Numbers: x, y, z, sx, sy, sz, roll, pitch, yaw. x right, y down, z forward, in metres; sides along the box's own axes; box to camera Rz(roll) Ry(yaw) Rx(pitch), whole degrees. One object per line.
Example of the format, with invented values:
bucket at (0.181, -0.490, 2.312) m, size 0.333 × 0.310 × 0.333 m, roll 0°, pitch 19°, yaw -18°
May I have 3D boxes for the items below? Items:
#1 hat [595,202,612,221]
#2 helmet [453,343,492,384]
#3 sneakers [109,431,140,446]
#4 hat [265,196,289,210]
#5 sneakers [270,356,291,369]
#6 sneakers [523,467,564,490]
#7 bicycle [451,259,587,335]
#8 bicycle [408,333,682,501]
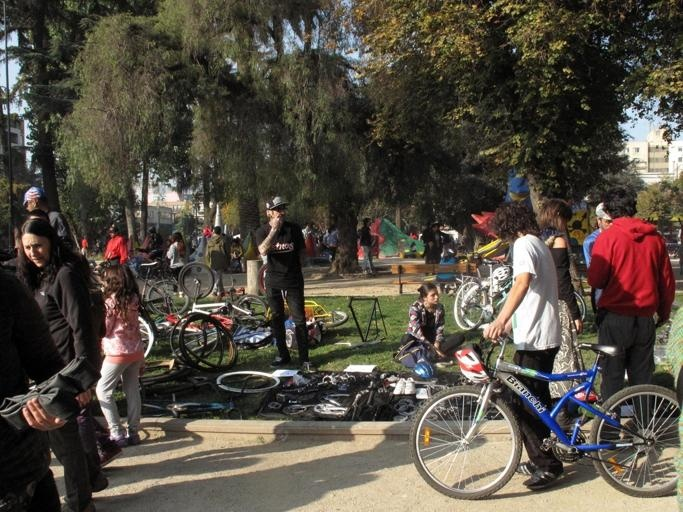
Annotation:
hat at (2.700, -0.466, 6.861) m, size 0.109 × 0.125 × 0.152 m, roll -3°, pitch 31°, yaw 8°
helmet at (1.216, 0.942, 6.028) m, size 0.242 × 0.361 × 0.129 m, roll -17°, pitch -11°, yaw 27°
sneakers at (-2.280, 1.920, 7.039) m, size 0.268 × 0.137 × 0.148 m, roll 2°, pitch -7°, yaw 5°
hat at (-0.927, -0.792, 9.418) m, size 0.223 × 0.201 × 0.320 m, roll -5°, pitch -3°, yaw -31°
sneakers at (-0.886, 1.534, 9.757) m, size 0.294 × 0.132 × 0.114 m, roll 0°, pitch 2°, yaw -12°
sneakers at (1.798, 1.924, 5.904) m, size 0.349 × 0.116 × 0.154 m, roll -9°, pitch 5°, yaw -24°
bicycle at (3.083, 0.915, 12.374) m, size 1.189 × 1.443 × 2.278 m, roll 23°, pitch -11°, yaw -27°
bicycle at (1.868, 1.498, 6.501) m, size 2.284 × 1.502 × 1.205 m, roll 0°, pitch -2°, yaw 1°
